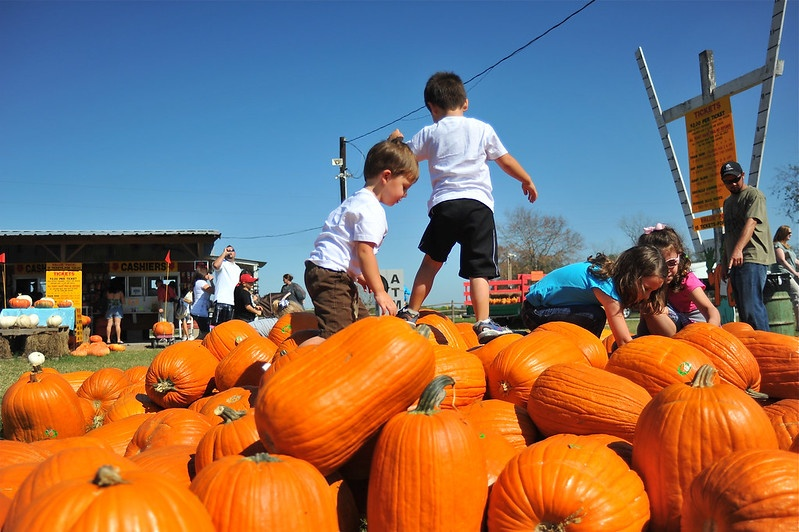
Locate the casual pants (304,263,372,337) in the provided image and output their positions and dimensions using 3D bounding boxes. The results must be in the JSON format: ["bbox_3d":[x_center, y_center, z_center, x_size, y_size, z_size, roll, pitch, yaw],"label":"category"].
[{"bbox_3d":[-0.519,0.265,4.520,0.479,0.975,0.779,0,-14,-11],"label":"casual pants"}]

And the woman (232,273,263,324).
[{"bbox_3d":[-2.561,0.782,9.723,0.343,1.312,0.451,-12,23,-27],"label":"woman"}]

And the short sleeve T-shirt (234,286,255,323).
[{"bbox_3d":[-2.578,0.640,9.321,0.253,0.510,0.472,-4,7,-24],"label":"short sleeve T-shirt"}]

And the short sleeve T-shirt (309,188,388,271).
[{"bbox_3d":[-0.423,-0.274,4.567,0.648,0.524,0.285,-2,1,35],"label":"short sleeve T-shirt"}]

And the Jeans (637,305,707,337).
[{"bbox_3d":[2.528,0.508,5.260,0.384,0.262,0.151,-8,-9,-5],"label":"Jeans"}]

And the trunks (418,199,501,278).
[{"bbox_3d":[0.554,-0.268,4.911,0.573,0.606,0.265,3,7,19],"label":"trunks"}]

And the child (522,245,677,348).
[{"bbox_3d":[1.815,0.333,5.376,1.323,1.007,0.473,0,8,35],"label":"child"}]

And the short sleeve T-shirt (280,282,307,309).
[{"bbox_3d":[-1.671,0.480,8.796,0.431,0.549,0.291,5,-21,-20],"label":"short sleeve T-shirt"}]

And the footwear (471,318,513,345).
[{"bbox_3d":[0.851,0.546,4.994,0.403,0.205,0.156,-7,-14,-40],"label":"footwear"}]

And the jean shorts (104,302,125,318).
[{"bbox_3d":[-9.015,1.369,17.879,0.594,0.430,0.762,6,28,-24],"label":"jean shorts"}]

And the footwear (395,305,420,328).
[{"bbox_3d":[0.036,0.393,4.664,0.247,0.116,0.087,30,-16,-4],"label":"footwear"}]

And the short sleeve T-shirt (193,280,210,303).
[{"bbox_3d":[-3.996,0.507,11.408,0.247,0.517,0.467,1,-1,-39],"label":"short sleeve T-shirt"}]

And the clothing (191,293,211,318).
[{"bbox_3d":[-3.961,0.781,11.288,0.386,0.562,0.328,5,-47,-7],"label":"clothing"}]

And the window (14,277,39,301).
[{"bbox_3d":[-13.001,0.773,19.619,0.675,0.896,0.083,0,-5,-17],"label":"window"}]

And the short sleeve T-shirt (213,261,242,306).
[{"bbox_3d":[-3.054,0.314,9.990,0.324,0.688,0.505,-18,-32,38],"label":"short sleeve T-shirt"}]
